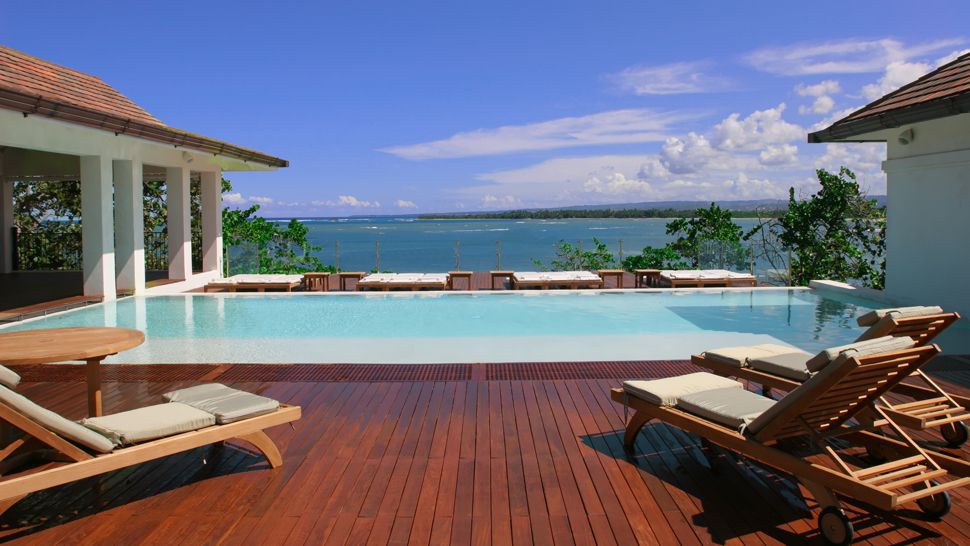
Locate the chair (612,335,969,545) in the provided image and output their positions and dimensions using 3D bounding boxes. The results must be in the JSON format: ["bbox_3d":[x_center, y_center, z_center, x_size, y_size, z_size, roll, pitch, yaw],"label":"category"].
[{"bbox_3d":[2.639,1.482,5.677,1.768,1.387,2.803,-3,9,-28],"label":"chair"}]

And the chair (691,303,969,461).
[{"bbox_3d":[3.587,0.949,6.494,1.516,1.428,2.724,-3,8,-21],"label":"chair"}]
